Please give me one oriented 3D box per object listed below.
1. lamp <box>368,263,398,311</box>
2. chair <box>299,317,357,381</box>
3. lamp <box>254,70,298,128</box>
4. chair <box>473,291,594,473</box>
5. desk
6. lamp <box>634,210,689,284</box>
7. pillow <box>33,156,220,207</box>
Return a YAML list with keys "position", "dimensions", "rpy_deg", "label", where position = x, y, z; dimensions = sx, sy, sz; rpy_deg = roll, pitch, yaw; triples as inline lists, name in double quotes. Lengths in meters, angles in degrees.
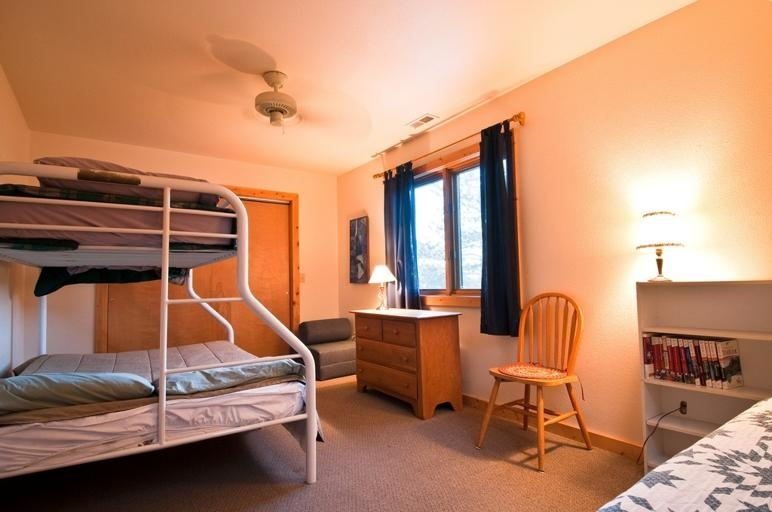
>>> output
- position: [-0.051, 0.352, 5.588]
  dimensions: [0.342, 0.455, 0.317]
  rpy_deg: [1, -10, -14]
  label: "lamp"
- position: [-0.686, 1.093, 6.159]
  dimensions: [0.655, 0.578, 0.727]
  rpy_deg: [15, 11, 40]
  label: "chair"
- position: [-0.953, -1.343, 4.496]
  dimensions: [0.393, 0.433, 0.370]
  rpy_deg: [-2, -6, 1]
  label: "lamp"
- position: [1.231, 0.925, 4.117]
  dimensions: [0.851, 1.213, 0.966]
  rpy_deg: [3, 12, 17]
  label: "chair"
- position: [0.188, 1.000, 5.128]
  dimensions: [0.642, 0.808, 1.102]
  rpy_deg: [2, -2, -36]
  label: "desk"
- position: [2.014, -0.046, 3.780]
  dimensions: [0.328, 0.448, 0.309]
  rpy_deg: [-1, -13, 24]
  label: "lamp"
- position: [-1.668, -0.455, 3.292]
  dimensions: [0.621, 0.136, 0.580]
  rpy_deg: [6, -3, -34]
  label: "pillow"
